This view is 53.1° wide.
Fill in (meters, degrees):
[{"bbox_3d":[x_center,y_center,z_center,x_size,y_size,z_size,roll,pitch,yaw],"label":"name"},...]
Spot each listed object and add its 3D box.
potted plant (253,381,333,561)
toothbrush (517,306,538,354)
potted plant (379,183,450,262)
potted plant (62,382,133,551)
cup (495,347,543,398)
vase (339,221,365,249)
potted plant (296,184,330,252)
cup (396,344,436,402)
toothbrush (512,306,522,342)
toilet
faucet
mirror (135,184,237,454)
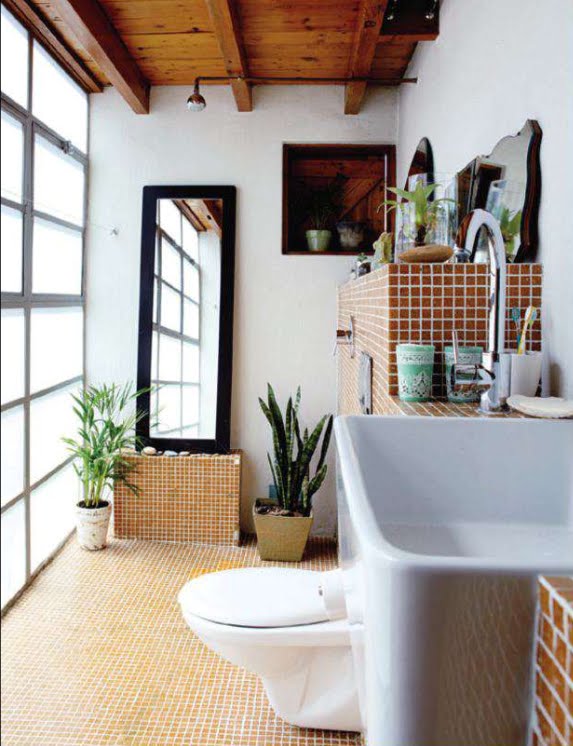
[{"bbox_3d":[0.028,0.470,2.845,0.385,0.809,0.467,2,4,5],"label":"potted plant"},{"bbox_3d":[0.500,-0.093,1.194,0.021,0.102,0.050,8,12,6],"label":"toothbrush"},{"bbox_3d":[0.315,-0.356,1.334,0.137,0.210,0.221,3,4,17],"label":"potted plant"},{"bbox_3d":[-0.912,0.448,2.857,0.347,0.770,0.581,0,5,-18],"label":"potted plant"},{"bbox_3d":[0.418,0.004,1.071,0.075,0.124,0.074,1,-10,0],"label":"cup"},{"bbox_3d":[0.339,-0.716,2.986,0.111,0.128,0.128,-4,12,-15],"label":"vase"},{"bbox_3d":[0.167,-0.829,3.091,0.112,0.354,0.147,5,19,17],"label":"potted plant"},{"bbox_3d":[0.259,0.002,1.164,0.072,0.115,0.074,2,4,0],"label":"cup"},{"bbox_3d":[0.491,-0.108,1.225,0.014,0.090,0.014,2,-19,11],"label":"toothbrush"},{"bbox_3d":[-0.045,0.757,1.479,0.473,0.458,0.315,3,4,10],"label":"toilet"},{"bbox_3d":[0.353,-0.103,1.019,0.088,0.336,0.195,3,4,22],"label":"faucet"},{"bbox_3d":[-0.552,-0.257,3.031,0.399,1.448,0.060,0,11,-7],"label":"mirror"}]
